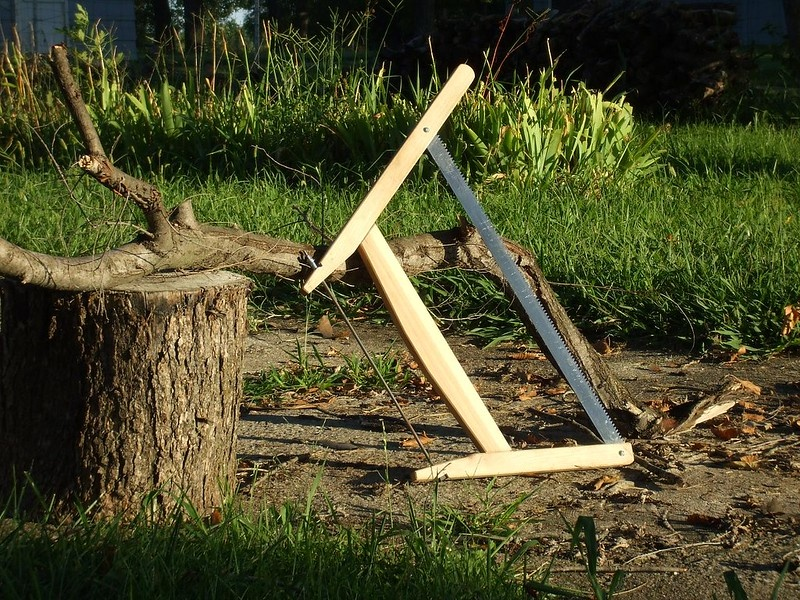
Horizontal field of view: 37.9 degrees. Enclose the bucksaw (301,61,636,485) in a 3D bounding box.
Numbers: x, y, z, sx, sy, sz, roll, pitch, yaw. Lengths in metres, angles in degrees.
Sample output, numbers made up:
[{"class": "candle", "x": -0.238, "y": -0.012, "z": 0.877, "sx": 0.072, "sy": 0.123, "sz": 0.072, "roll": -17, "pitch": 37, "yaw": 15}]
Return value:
[{"class": "bucksaw", "x": 0.304, "y": -0.105, "z": 5.481, "sx": 1.490, "sy": 1.973, "sz": 0.577, "roll": -2, "pitch": 12, "yaw": -14}]
